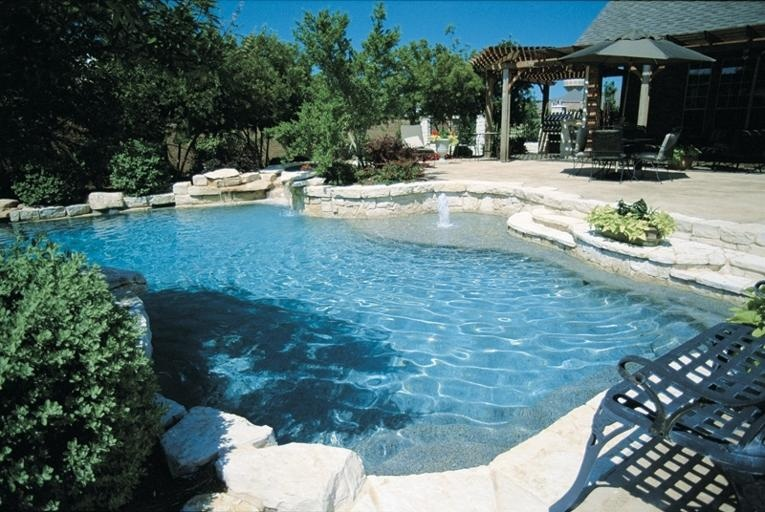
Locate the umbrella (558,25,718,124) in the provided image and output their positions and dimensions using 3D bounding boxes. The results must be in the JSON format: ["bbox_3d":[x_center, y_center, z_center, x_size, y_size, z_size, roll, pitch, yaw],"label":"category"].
[{"bbox_3d":[7.103,-4.934,13.554,2.883,2.589,3.971,4,17,29],"label":"umbrella"}]

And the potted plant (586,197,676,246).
[{"bbox_3d":[4.477,-0.447,8.900,1.020,0.339,0.915,4,17,-9],"label":"potted plant"}]

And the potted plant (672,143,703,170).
[{"bbox_3d":[9.671,-3.137,15.405,0.980,0.878,0.989,10,20,43],"label":"potted plant"}]
